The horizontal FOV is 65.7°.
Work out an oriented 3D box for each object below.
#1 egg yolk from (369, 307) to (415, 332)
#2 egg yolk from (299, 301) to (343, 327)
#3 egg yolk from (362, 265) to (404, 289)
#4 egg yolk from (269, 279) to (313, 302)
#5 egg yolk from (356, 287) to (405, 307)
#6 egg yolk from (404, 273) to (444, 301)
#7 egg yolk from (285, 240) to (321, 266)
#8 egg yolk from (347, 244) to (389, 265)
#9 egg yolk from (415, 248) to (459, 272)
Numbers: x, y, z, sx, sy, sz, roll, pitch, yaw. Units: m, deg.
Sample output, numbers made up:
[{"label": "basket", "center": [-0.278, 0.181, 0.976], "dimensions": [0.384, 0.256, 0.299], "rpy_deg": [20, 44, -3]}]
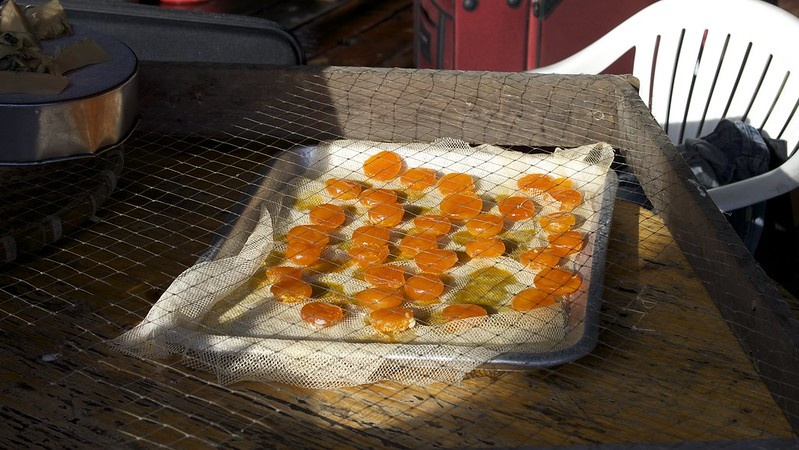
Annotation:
[{"label": "egg yolk", "center": [-0.011, 0.132, 0.861], "dimensions": [0.060, 0.020, 0.038], "rpy_deg": [-11, 41, -10]}, {"label": "egg yolk", "center": [-0.109, 0.126, 0.866], "dimensions": [0.058, 0.018, 0.040], "rpy_deg": [15, 42, 20]}, {"label": "egg yolk", "center": [-0.023, 0.074, 0.898], "dimensions": [0.061, 0.012, 0.043], "rpy_deg": [-1, 38, 1]}, {"label": "egg yolk", "center": [-0.156, 0.093, 0.887], "dimensions": [0.055, 0.020, 0.038], "rpy_deg": [-6, 41, -5]}, {"label": "egg yolk", "center": [-0.029, 0.103, 0.877], "dimensions": [0.065, 0.016, 0.035], "rpy_deg": [-4, 40, -2]}, {"label": "egg yolk", "center": [0.035, 0.090, 0.895], "dimensions": [0.057, 0.020, 0.046], "rpy_deg": [-1, 39, 1]}, {"label": "egg yolk", "center": [-0.144, 0.042, 0.924], "dimensions": [0.050, 0.019, 0.044], "rpy_deg": [1, 39, 4]}, {"label": "egg yolk", "center": [-0.047, 0.045, 0.922], "dimensions": [0.057, 0.014, 0.039], "rpy_deg": [-1, 39, 1]}, {"label": "egg yolk", "center": [0.055, 0.054, 0.923], "dimensions": [0.061, 0.020, 0.042], "rpy_deg": [-10, 40, -9]}]
